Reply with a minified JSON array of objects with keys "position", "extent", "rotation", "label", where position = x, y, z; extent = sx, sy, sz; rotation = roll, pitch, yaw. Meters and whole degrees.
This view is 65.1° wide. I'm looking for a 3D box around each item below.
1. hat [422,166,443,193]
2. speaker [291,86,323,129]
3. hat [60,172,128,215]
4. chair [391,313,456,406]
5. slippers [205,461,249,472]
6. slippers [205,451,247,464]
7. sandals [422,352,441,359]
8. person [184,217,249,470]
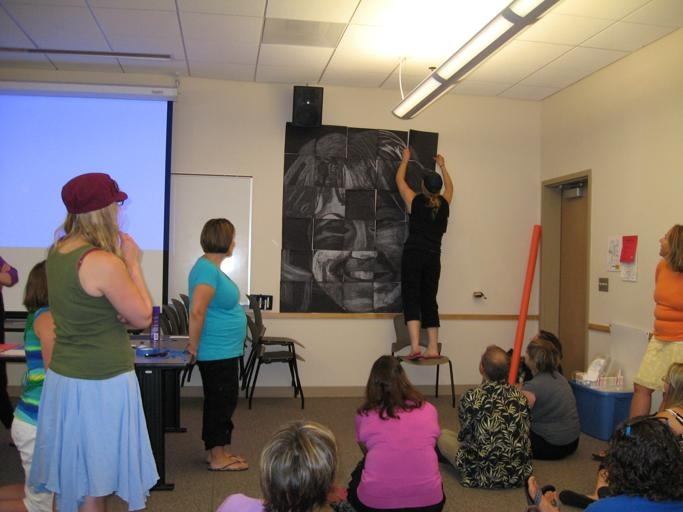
[{"position":[1.018,-0.858,6.048],"extent":[0.220,0.326,0.166],"rotation":[8,-19,-9],"label":"hat"},{"position":[-0.372,-1.634,6.083],"extent":[0.343,0.496,0.259],"rotation":[3,-12,-2],"label":"speaker"},{"position":[-1.247,-0.311,2.744],"extent":[0.204,0.151,0.280],"rotation":[22,32,40],"label":"hat"},{"position":[0.898,1.198,6.043],"extent":[0.741,1.067,0.762],"rotation":[-4,-6,24],"label":"chair"},{"position":[-0.898,1.676,4.258],"extent":[0.233,0.061,0.113],"rotation":[0,-3,-5],"label":"slippers"},{"position":[-0.939,1.634,4.335],"extent":[0.327,0.093,0.133],"rotation":[1,-6,25],"label":"slippers"},{"position":[0.961,1.053,5.664],"extent":[0.187,0.070,0.071],"rotation":[3,-11,-11],"label":"sandals"},{"position":[-0.981,0.707,4.192],"extent":[0.274,1.925,0.478],"rotation":[-1,0,38],"label":"person"}]
